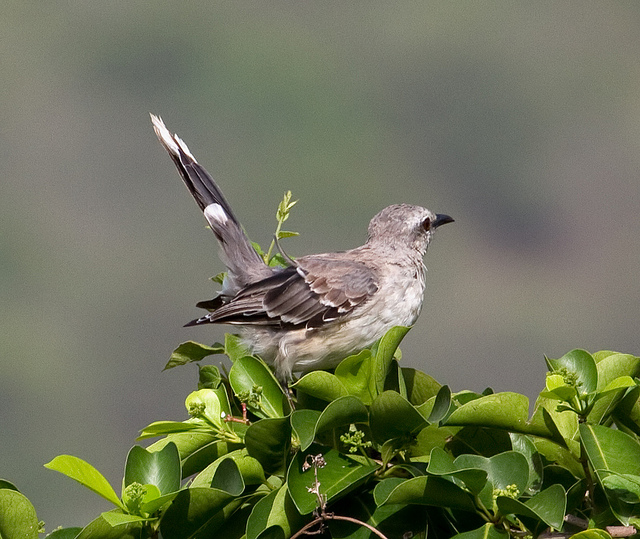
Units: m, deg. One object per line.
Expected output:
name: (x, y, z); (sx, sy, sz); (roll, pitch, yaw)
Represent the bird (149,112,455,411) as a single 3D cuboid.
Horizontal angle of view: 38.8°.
bird: (-0.050, 0.001, 2.950); (0.971, 0.852, 0.389); (3, 1, 0)
